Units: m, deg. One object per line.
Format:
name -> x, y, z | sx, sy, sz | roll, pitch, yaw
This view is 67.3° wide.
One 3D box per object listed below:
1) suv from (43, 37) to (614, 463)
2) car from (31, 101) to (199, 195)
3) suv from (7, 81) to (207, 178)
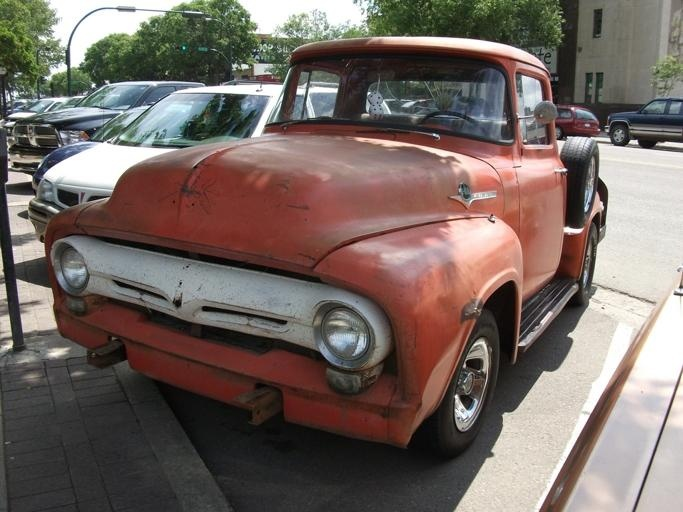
suv -> 0.570, -0.678, 5.081 | 3.337, 2.559, 5.587 | 9, 19, 33
car -> -3.556, -1.874, 8.405 | 1.159, 1.135, 2.647 | 15, 24, 43
suv -> -5.126, -3.100, 12.726 | 2.274, 2.034, 4.994 | 9, 16, 40
